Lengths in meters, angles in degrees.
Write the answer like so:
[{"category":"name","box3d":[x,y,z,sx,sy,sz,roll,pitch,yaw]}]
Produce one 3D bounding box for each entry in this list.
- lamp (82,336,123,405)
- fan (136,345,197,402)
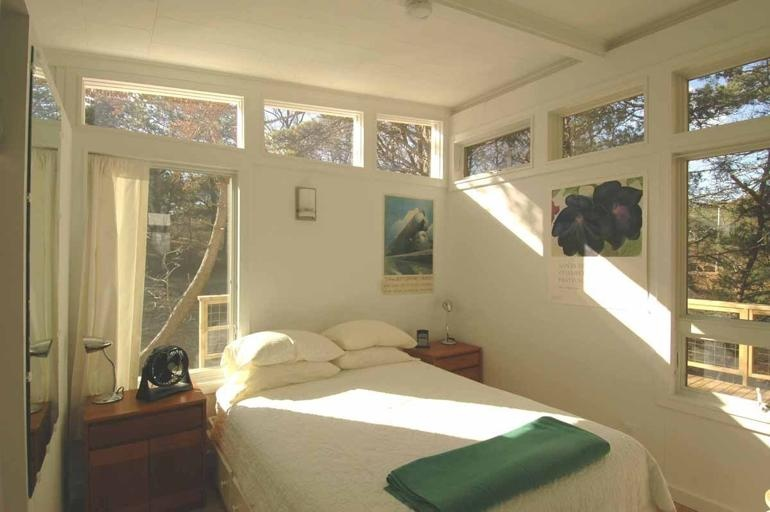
[{"category":"lamp","box3d":[-2.434,0.977,4.779,0.303,0.545,0.287,0,3,-27]},{"category":"fan","box3d":[-1.949,1.005,4.910,0.204,0.426,0.440,7,9,37]}]
